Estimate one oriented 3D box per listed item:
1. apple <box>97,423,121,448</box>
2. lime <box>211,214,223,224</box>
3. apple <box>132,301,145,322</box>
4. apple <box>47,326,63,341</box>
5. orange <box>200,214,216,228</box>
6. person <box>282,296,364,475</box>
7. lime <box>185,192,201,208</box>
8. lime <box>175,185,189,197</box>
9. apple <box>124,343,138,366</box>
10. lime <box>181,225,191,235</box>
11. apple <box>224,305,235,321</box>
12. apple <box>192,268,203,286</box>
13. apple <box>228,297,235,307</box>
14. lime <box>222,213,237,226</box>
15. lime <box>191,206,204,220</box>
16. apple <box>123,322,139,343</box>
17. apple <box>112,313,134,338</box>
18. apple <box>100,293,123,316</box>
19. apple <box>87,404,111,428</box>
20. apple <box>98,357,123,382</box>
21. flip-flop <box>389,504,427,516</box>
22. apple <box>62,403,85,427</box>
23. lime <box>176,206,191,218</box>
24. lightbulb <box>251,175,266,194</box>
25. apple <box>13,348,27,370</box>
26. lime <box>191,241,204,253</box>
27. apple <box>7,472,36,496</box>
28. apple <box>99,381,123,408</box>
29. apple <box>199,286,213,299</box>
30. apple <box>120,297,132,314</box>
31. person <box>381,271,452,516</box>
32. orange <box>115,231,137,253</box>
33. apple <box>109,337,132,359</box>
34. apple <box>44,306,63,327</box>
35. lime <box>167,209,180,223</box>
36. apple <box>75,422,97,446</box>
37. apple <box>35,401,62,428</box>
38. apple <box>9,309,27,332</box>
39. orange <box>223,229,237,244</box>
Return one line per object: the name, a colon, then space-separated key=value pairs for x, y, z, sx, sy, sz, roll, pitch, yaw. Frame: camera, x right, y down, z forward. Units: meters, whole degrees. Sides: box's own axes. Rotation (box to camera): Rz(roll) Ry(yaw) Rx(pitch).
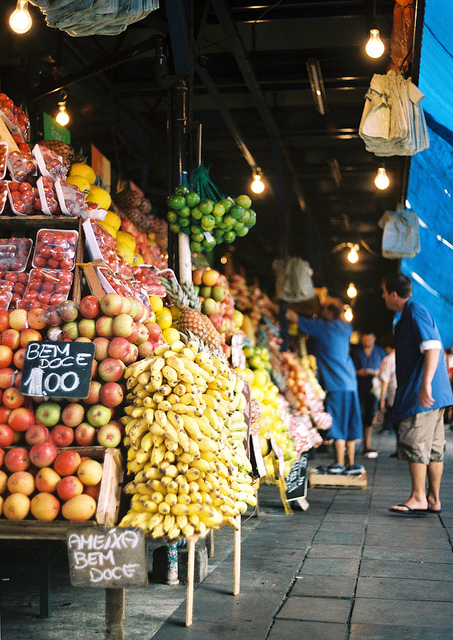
apple: x=-0.483 y=0.475 z=2.721 sx=0.092 sy=0.095 sz=0.041 roll=3 pitch=-7 yaw=-35
lime: x=-0.069 y=-0.639 z=4.172 sx=0.058 sy=0.061 sz=0.054 roll=1 pitch=14 yaw=-2
apple: x=-0.412 y=-0.038 z=3.042 sx=0.070 sy=0.063 sz=0.078 roll=-15 pitch=-40 yaw=3
apple: x=-0.741 y=0.059 z=2.835 sx=0.062 sy=0.068 sz=0.056 roll=12 pitch=-51 yaw=-23
orange: x=-0.122 y=-0.626 z=4.169 sx=0.096 sy=0.078 sz=0.056 roll=-1 pitch=-6 yaw=-2
person: x=0.984 y=0.608 z=6.396 sx=0.561 sy=1.699 sz=0.411 roll=-2 pitch=-6 yaw=8
lime: x=-0.217 y=-0.767 z=4.185 sx=0.100 sy=0.106 sz=0.101 roll=0 pitch=-6 yaw=-11
lime: x=-0.306 y=-0.838 z=4.308 sx=0.076 sy=0.070 sz=0.094 roll=-4 pitch=17 yaw=-29
apple: x=-0.421 y=0.148 z=2.865 sx=0.067 sy=0.061 sz=0.074 roll=-18 pitch=31 yaw=-8
lime: x=-0.269 y=-0.588 z=4.282 sx=0.046 sy=0.049 sz=0.043 roll=-3 pitch=-28 yaw=17
apple: x=0.015 y=-0.046 z=4.530 sx=0.083 sy=0.078 sz=0.097 roll=-4 pitch=17 yaw=-1
apple: x=-0.204 y=-0.293 z=4.575 sx=0.105 sy=0.111 sz=0.098 roll=4 pitch=-18 yaw=-9
apple: x=0.019 y=-0.121 z=4.562 sx=0.036 sy=0.060 sz=0.055 roll=18 pitch=8 yaw=39
lime: x=0.008 y=-0.634 z=4.188 sx=0.082 sy=0.083 sz=0.074 roll=-2 pitch=5 yaw=2
lime: x=-0.191 y=-0.670 z=4.151 sx=0.061 sy=0.055 sz=0.076 roll=0 pitch=18 yaw=-4
apple: x=-0.399 y=0.050 z=2.891 sx=0.075 sy=0.068 sz=0.080 roll=-9 pitch=31 yaw=4
apple: x=-0.449 y=0.020 z=2.837 sx=0.084 sy=0.110 sz=0.086 roll=-1 pitch=-6 yaw=-1
apple: x=-0.499 y=-0.068 z=2.846 sx=0.098 sy=0.100 sz=0.067 roll=0 pitch=-6 yaw=-13
apple: x=-0.530 y=0.393 z=2.719 sx=0.098 sy=0.086 sz=0.092 roll=0 pitch=-11 yaw=-4
apple: x=-0.489 y=0.207 z=2.749 sx=0.096 sy=0.089 sz=0.094 roll=6 pitch=-13 yaw=-8
flip-flop: x=1.326 y=1.398 z=4.870 sx=0.254 sy=0.058 sz=0.092 roll=7 pitch=-13 yaw=-6
apple: x=-0.628 y=0.386 z=2.702 sx=0.081 sy=0.072 sz=0.097 roll=16 pitch=-12 yaw=5
lime: x=-0.268 y=-0.680 z=4.199 sx=0.076 sy=0.069 sz=0.085 roll=-6 pitch=28 yaw=15
lightbulb: x=0.346 y=-1.664 z=8.135 sx=0.206 sy=0.254 sz=0.199 roll=2 pitch=16 yaw=23
apple: x=-0.885 y=0.165 z=2.824 sx=0.069 sy=0.091 sz=0.035 roll=-5 pitch=-7 yaw=37
lime: x=-0.198 y=-0.480 z=4.330 sx=0.065 sy=0.058 sz=0.072 roll=1 pitch=26 yaw=2
apple: x=-0.821 y=0.653 z=2.638 sx=0.104 sy=0.089 sz=0.053 roll=1 pitch=-6 yaw=-19
apple: x=-0.480 y=0.317 z=2.784 sx=0.101 sy=0.093 sz=0.094 roll=26 pitch=-18 yaw=-21
apple: x=-0.142 y=-0.193 z=4.548 sx=0.089 sy=0.096 sz=0.082 roll=7 pitch=-30 yaw=-2
apple: x=-0.441 y=-0.067 z=2.914 sx=0.066 sy=0.070 sz=0.062 roll=7 pitch=0 yaw=4
person: x=1.472 y=0.513 z=5.145 sx=0.519 sy=1.885 sz=0.957 roll=-3 pitch=-6 yaw=13
orange: x=-0.704 y=-0.548 z=4.566 sx=0.168 sy=0.108 sz=0.214 roll=18 pitch=5 yaw=-5
apple: x=-0.453 y=0.116 z=2.835 sx=0.087 sy=0.083 sz=0.102 roll=37 pitch=-5 yaw=-4
apple: x=-0.750 y=-0.016 z=2.843 sx=0.069 sy=0.080 sz=0.049 roll=-3 pitch=-7 yaw=12
lime: x=-0.356 y=-0.664 z=4.247 sx=0.065 sy=0.077 sz=0.062 roll=-19 pitch=30 yaw=-37
apple: x=-0.579 y=0.473 z=2.755 sx=0.093 sy=0.087 sz=0.089 roll=15 pitch=-12 yaw=-11
apple: x=-0.733 y=0.384 z=2.715 sx=0.105 sy=0.095 sz=0.098 roll=12 pitch=-47 yaw=-15
apple: x=-0.909 y=-0.006 z=2.867 sx=0.089 sy=0.079 sz=0.083 roll=0 pitch=-2 yaw=-37
orange: x=0.016 y=-0.552 z=4.334 sx=0.073 sy=0.068 sz=0.093 roll=-1 pitch=3 yaw=6
